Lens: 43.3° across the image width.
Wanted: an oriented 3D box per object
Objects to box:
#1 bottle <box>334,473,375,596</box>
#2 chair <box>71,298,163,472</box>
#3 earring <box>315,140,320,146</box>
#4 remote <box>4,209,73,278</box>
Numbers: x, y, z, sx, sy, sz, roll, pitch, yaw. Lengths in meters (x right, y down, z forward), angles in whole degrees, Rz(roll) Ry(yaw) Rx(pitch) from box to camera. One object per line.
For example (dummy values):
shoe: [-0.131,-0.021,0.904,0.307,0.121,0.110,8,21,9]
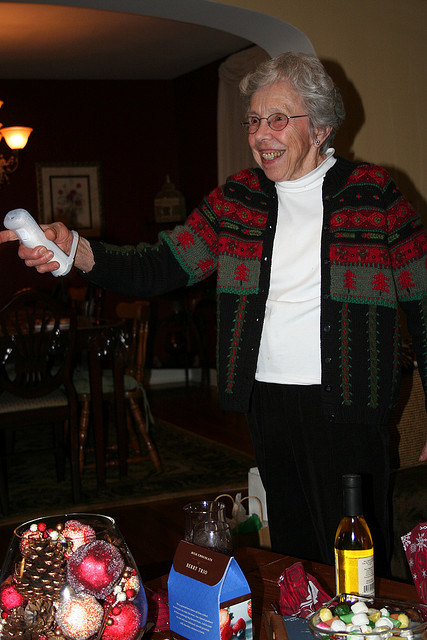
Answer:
bottle: [0.174,0.267,0.664,0.046,0.180,0.069,0,5,14]
chair: [-0.655,0.419,3.456,0.683,0.954,0.575,-3,5,-4]
earring: [0.220,-0.375,1.139,0.011,0.009,0.005,-3,5,-26]
remote: [-0.333,-0.138,0.984,0.086,0.112,0.212,-1,4,9]
